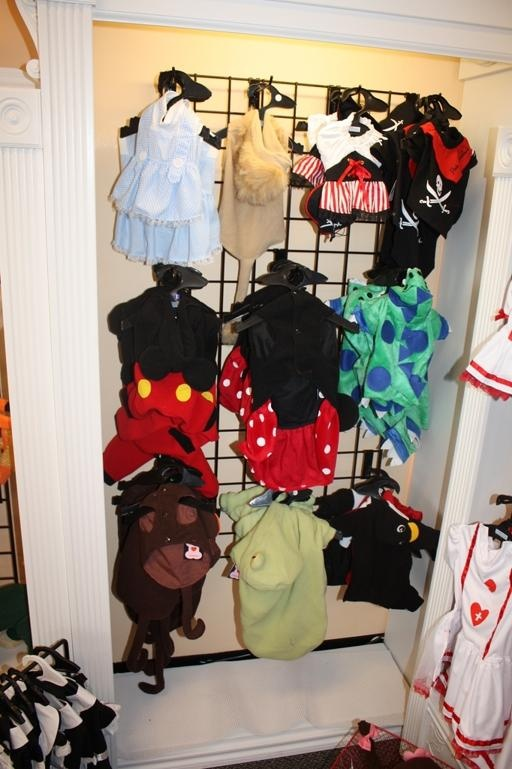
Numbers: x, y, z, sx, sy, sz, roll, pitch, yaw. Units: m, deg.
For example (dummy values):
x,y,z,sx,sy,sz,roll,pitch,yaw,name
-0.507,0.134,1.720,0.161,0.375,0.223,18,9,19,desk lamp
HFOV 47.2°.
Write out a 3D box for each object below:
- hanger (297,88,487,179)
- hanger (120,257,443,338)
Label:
x,y,z,sx,sy,sz,roll,pitch,yaw,name
0.467,-0.778,1.829,0.382,0.291,0.254,-5,13,-34,hanger
0.063,-0.275,1.873,1.037,0.232,0.295,0,11,-10,hanger
